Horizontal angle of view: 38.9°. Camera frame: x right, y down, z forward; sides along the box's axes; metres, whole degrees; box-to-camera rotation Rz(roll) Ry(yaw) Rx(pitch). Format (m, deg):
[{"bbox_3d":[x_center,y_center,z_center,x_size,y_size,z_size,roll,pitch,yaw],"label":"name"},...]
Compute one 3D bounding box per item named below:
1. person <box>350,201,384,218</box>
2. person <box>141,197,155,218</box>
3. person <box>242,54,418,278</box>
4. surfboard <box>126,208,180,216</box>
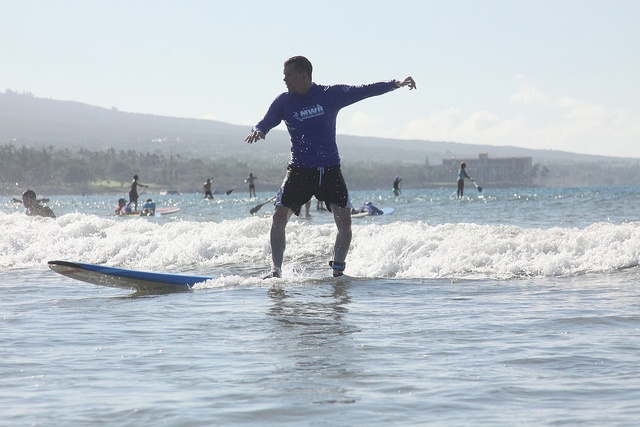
[{"bbox_3d":[1.281,-0.125,24.083,0.783,0.267,0.886,0,-2,5],"label":"person"},{"bbox_3d":[-5.354,-0.211,28.255,0.309,0.345,1.009,0,10,-12],"label":"person"},{"bbox_3d":[-0.076,-0.479,10.353,1.456,2.610,0.424,-2,15,-4],"label":"person"},{"bbox_3d":[-5.523,-0.091,30.181,1.728,0.185,0.393,1,5,11],"label":"surfboard"}]
